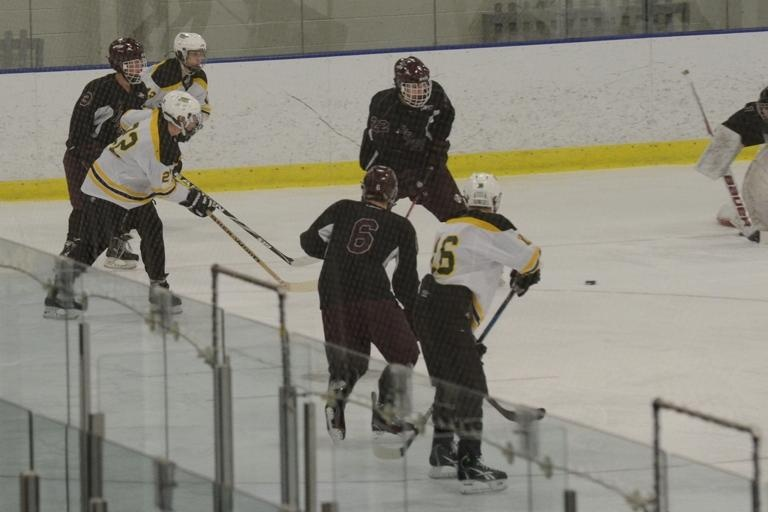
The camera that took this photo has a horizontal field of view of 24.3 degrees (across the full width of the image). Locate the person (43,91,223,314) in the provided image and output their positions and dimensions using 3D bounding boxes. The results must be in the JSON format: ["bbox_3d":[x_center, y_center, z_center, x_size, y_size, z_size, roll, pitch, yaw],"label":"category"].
[{"bbox_3d":[-1.861,-0.500,13.452,1.067,1.472,0.384,-1,10,-6],"label":"person"}]

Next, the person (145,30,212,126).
[{"bbox_3d":[-1.810,-1.467,15.122,0.688,0.676,0.390,-5,4,-21],"label":"person"}]

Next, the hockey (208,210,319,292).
[{"bbox_3d":[-0.981,-0.011,14.322,0.465,0.481,0.913,-9,25,-15],"label":"hockey"}]

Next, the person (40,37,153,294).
[{"bbox_3d":[-2.458,-0.908,14.431,0.622,1.257,0.380,-2,32,-13],"label":"person"}]

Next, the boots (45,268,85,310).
[{"bbox_3d":[-2.006,0.238,11.348,0.281,0.214,0.130,4,51,-8],"label":"boots"}]
